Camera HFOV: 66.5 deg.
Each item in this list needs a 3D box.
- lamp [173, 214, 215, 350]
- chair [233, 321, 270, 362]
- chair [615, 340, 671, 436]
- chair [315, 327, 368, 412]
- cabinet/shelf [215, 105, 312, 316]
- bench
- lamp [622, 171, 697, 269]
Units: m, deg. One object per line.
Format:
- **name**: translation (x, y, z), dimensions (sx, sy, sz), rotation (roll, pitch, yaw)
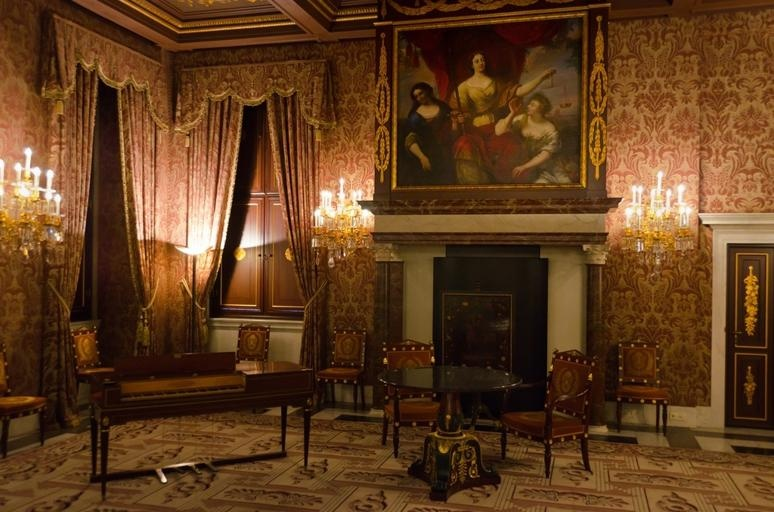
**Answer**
- **lamp**: translation (-3.211, 0.403, 10.043), dimensions (0.555, 2.371, 0.415), rotation (8, 11, 43)
- **chair**: translation (-2.154, 1.411, 9.642), dimensions (0.559, 0.950, 0.583), rotation (2, -3, 6)
- **chair**: translation (3.705, 1.915, 8.613), dimensions (0.731, 1.211, 0.761), rotation (4, 9, 25)
- **chair**: translation (-0.710, 1.817, 9.395), dimensions (0.773, 1.204, 0.737), rotation (1, 8, 8)
- **cabinet/shelf**: translation (-2.226, -0.776, 10.181), dimensions (1.500, 3.614, 0.549), rotation (2, 8, 11)
- **bench**: translation (-2.368, 1.343, 6.666), dimensions (1.510, 0.405, 0.328), rotation (-2, 8, -17)
- **lamp**: translation (3.901, -0.481, 8.525), dimensions (0.971, 1.473, 1.039), rotation (4, 9, 27)
